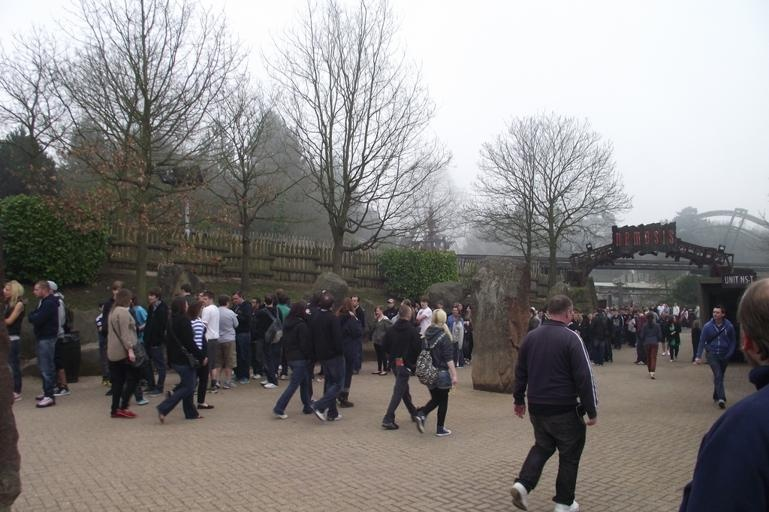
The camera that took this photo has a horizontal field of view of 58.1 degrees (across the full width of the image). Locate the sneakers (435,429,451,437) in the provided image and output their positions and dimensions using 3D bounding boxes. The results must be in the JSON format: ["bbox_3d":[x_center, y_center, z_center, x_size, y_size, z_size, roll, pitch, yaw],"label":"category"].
[{"bbox_3d":[1.305,3.948,15.551,0.368,0.177,0.134,-2,5,-44],"label":"sneakers"}]

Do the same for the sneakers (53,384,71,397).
[{"bbox_3d":[-8.529,3.575,18.294,0.437,0.211,0.167,5,2,-5],"label":"sneakers"}]

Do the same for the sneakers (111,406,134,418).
[{"bbox_3d":[-6.127,3.635,16.189,0.480,0.251,0.231,3,-9,-2],"label":"sneakers"}]

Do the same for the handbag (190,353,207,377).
[{"bbox_3d":[-4.404,2.530,16.207,0.184,0.512,0.372,-1,-3,42],"label":"handbag"}]

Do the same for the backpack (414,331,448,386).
[{"bbox_3d":[0.981,2.291,15.341,0.619,1.220,0.326,0,-3,4],"label":"backpack"}]

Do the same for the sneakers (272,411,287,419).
[{"bbox_3d":[-2.515,3.765,16.400,0.343,0.155,0.141,8,18,-19],"label":"sneakers"}]

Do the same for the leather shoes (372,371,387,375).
[{"bbox_3d":[-0.172,3.768,22.311,0.303,0.125,0.172,23,-22,-26],"label":"leather shoes"}]

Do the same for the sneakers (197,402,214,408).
[{"bbox_3d":[-4.422,3.650,17.011,0.326,0.139,0.124,1,0,-10],"label":"sneakers"}]

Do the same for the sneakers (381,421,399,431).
[{"bbox_3d":[0.095,3.850,15.800,0.407,0.201,0.153,7,-1,-11],"label":"sneakers"}]
